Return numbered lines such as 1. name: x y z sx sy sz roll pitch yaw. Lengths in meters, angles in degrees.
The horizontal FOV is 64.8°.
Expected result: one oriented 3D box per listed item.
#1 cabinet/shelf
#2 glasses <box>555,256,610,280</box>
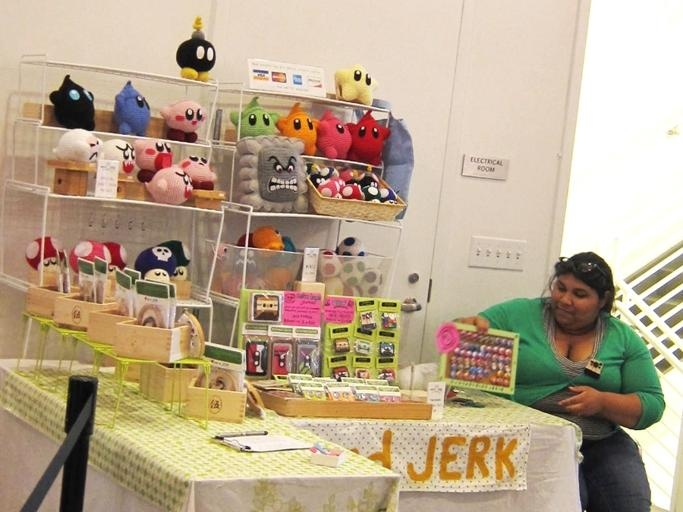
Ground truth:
1. cabinet/shelf: -0.610 -0.199 2.168 1.330 1.187 0.515 2 3 -25
2. glasses: 1.105 0.061 2.496 0.126 0.041 0.131 11 -18 20
